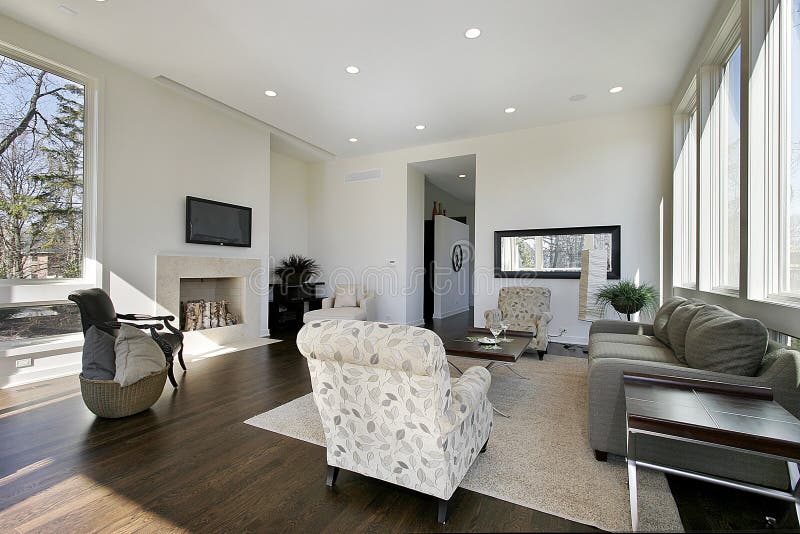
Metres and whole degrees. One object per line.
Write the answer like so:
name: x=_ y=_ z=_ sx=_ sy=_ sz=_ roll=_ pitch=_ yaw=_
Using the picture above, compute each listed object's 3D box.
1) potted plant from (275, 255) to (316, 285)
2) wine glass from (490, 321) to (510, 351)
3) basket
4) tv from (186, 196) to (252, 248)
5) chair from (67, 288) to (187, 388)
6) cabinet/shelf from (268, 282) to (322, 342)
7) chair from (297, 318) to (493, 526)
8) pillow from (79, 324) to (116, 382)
potted plant: x=-2.090 y=0.111 z=9.407 sx=0.585 sy=0.419 sz=0.583 roll=4 pitch=-7 yaw=-29
wine glass: x=1.189 y=0.835 z=5.831 sx=0.211 sy=0.261 sz=0.212 roll=-14 pitch=23 yaw=-40
basket: x=-2.770 y=1.218 z=4.857 sx=0.554 sy=0.352 sz=0.568 roll=-6 pitch=-10 yaw=34
tv: x=-2.848 y=-0.697 z=7.446 sx=0.094 sy=0.525 sz=0.897 roll=2 pitch=0 yaw=31
chair: x=-3.144 y=0.855 z=5.668 sx=1.127 sy=1.162 sz=0.799 roll=-1 pitch=4 yaw=-15
cabinet/shelf: x=-2.085 y=0.762 z=9.252 sx=0.804 sy=1.202 sz=1.235 roll=-1 pitch=-3 yaw=12
chair: x=0.037 y=1.143 z=4.227 sx=1.237 sy=1.451 sz=1.590 roll=4 pitch=4 yaw=26
pillow: x=-3.076 y=0.903 z=4.891 sx=0.383 sy=0.468 sz=0.134 roll=8 pitch=-18 yaw=-36
